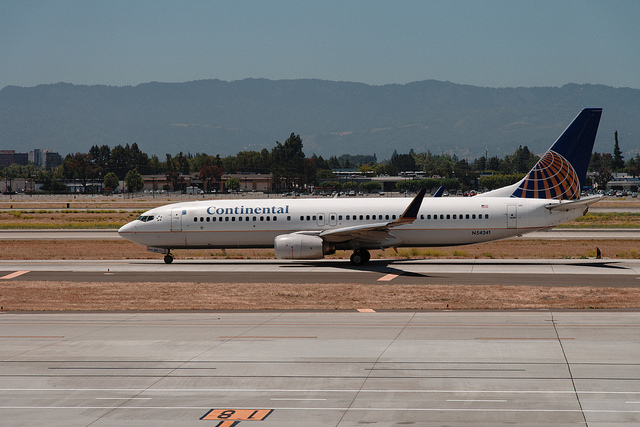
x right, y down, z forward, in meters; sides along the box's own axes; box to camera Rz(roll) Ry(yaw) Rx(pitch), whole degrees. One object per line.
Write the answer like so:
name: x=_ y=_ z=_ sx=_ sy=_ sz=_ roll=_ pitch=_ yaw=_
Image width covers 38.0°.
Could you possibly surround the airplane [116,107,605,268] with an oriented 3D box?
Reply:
airplane: x=12.631 y=-0.218 z=85.342 sx=54.206 sy=9.977 sz=23.653 roll=0 pitch=1 yaw=20
